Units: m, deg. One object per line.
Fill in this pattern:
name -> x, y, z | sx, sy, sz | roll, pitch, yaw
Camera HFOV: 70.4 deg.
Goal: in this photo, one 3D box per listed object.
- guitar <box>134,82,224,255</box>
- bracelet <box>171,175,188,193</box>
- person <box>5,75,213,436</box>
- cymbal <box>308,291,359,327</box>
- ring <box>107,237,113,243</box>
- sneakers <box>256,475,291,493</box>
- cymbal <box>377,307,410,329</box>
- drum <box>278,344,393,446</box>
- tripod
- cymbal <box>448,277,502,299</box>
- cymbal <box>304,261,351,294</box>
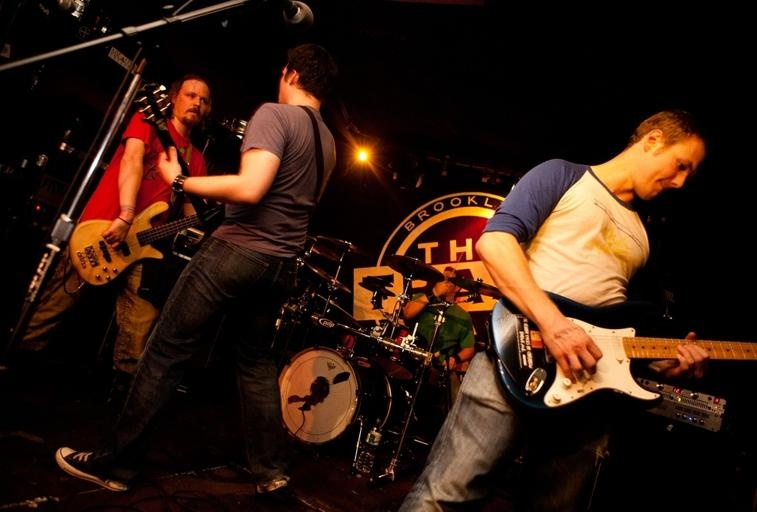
guitar -> -1.266, -0.556, 3.946 | 0.587, 1.380, 0.148 | -8, 18, 23
bracelet -> -1.300, -0.473, 3.506 | 0.077, 0.119, 0.114 | 5, 4, -34
person -> -2.413, -0.226, 5.005 | 1.264, 3.441, 0.335 | 29, -10, -24
cymbal -> -0.408, 0.605, 5.521 | 0.352, 0.082, 0.355 | 19, -17, 40
ring -> -2.233, -0.134, 4.483 | 0.049, 0.047, 0.012 | 1, 16, 10
sneakers -> -0.719, 1.572, 3.680 | 0.192, 0.105, 0.044 | 7, 5, -4
cymbal -> 0.194, 0.735, 6.169 | 0.244, 0.102, 0.381 | -2, 8, -4
drum -> -0.392, 1.416, 5.378 | 0.838, 0.853, 0.812 | 0, -18, 33
tripod -> 0.088, 1.273, 5.950 | 1.194, 1.695, 1.500 | 21, -26, -24
cymbal -> 1.007, 0.323, 5.572 | 0.343, 0.125, 0.327 | 19, -9, -14
cymbal -> -0.528, 0.242, 5.564 | 0.382, 0.086, 0.367 | 34, -13, -21
